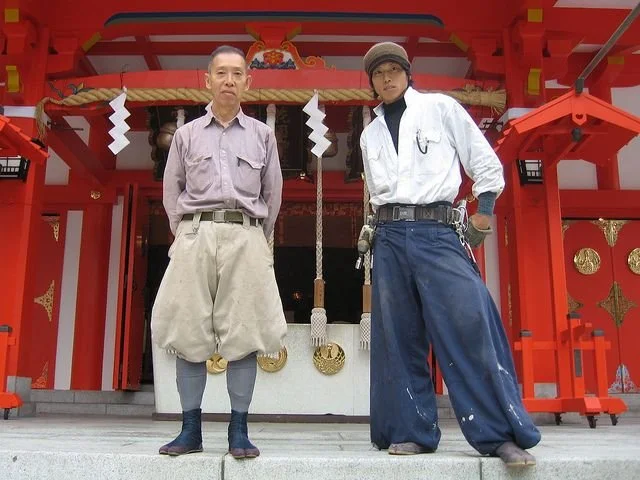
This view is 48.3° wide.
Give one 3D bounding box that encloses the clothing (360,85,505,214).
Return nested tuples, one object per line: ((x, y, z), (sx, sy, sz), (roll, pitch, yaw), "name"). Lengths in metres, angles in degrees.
((0.611, -0.524, 4.381), (0.984, 0.778, 0.444), (-7, 3, 41), "clothing")

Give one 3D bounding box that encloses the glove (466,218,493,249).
((0.886, -0.022, 4.166), (0.147, 0.158, 0.175), (11, 8, -9), "glove")

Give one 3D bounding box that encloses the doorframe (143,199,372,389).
((-0.516, 0.403, 5.747), (2.260, 1.547, 0.074), (1, 4, 2), "doorframe")

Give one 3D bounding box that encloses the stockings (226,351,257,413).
((-0.450, 0.847, 4.132), (0.173, 0.547, 0.136), (5, 21, -8), "stockings")

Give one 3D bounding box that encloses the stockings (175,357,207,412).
((-0.751, 0.829, 4.105), (0.174, 0.301, 0.105), (-1, -9, -4), "stockings")

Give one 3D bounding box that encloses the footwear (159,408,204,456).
((-0.754, 1.061, 3.959), (0.165, 0.224, 0.303), (-7, -10, 35), "footwear")

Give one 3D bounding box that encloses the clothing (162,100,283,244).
((-0.583, -0.340, 4.318), (0.752, 0.928, 0.376), (1, 3, -3), "clothing")

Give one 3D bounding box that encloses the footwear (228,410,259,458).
((-0.425, 1.068, 3.957), (0.167, 0.234, 0.276), (0, -8, -7), "footwear")

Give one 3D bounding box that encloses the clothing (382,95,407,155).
((0.445, -0.697, 4.350), (0.186, 0.292, 0.201), (-5, -7, 4), "clothing")

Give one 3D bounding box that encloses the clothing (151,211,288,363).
((-0.557, 0.282, 4.249), (0.922, 0.814, 0.483), (1, 2, 18), "clothing")

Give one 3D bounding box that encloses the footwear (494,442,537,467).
((1.039, 1.141, 3.782), (0.089, 0.068, 0.160), (-1, -14, -18), "footwear")
